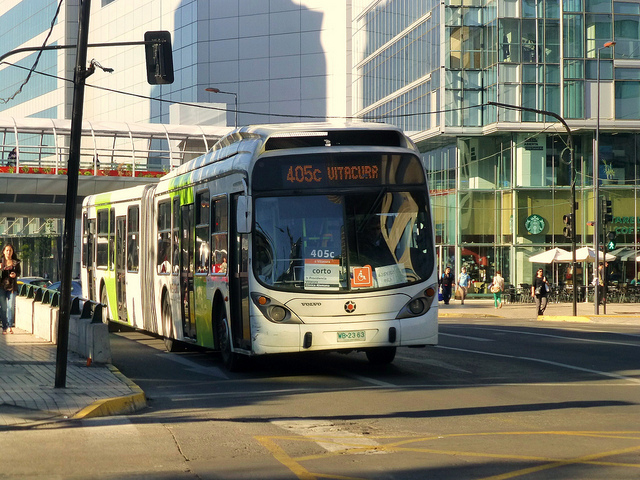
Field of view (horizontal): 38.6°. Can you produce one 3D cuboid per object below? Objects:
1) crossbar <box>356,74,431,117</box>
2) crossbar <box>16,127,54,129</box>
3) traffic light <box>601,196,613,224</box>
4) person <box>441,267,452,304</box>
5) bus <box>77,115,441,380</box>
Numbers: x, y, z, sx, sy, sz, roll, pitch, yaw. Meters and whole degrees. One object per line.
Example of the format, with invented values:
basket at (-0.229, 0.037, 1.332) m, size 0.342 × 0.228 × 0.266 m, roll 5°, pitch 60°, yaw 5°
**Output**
crossbar at (4.625, -9.208, 58.196) m, size 0.167 × 0.412 × 11.798 m, roll 0°, pitch -3°, yaw -17°
crossbar at (-14.680, -5.861, 47.805) m, size 1.356 × 0.099 × 0.224 m, roll 0°, pitch -3°, yaw -6°
traffic light at (11.671, -1.175, 37.209) m, size 0.354 × 1.141 × 1.879 m, roll -1°, pitch -3°, yaw 16°
person at (6.282, 2.243, 45.196) m, size 0.436 × 1.797 × 0.965 m, roll -1°, pitch -2°, yaw 6°
bus at (-2.338, 0.284, 21.846) m, size 3.324 × 4.385 × 14.140 m, roll -2°, pitch 0°, yaw -24°
